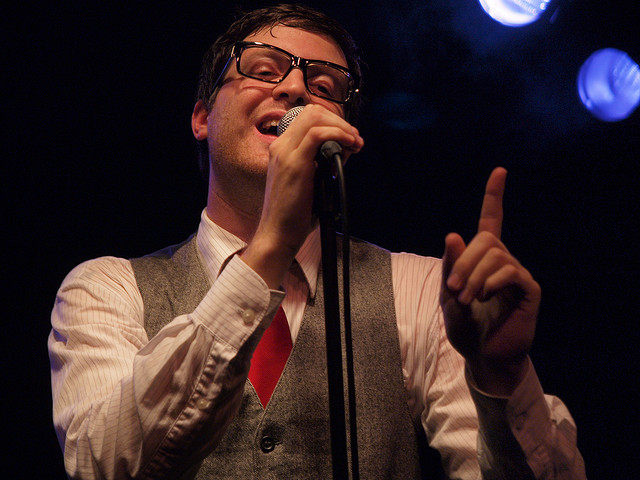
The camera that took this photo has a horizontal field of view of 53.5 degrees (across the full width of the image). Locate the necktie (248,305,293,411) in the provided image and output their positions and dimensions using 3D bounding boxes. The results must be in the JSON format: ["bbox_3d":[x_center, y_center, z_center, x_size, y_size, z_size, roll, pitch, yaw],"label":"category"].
[{"bbox_3d":[-0.154,0.327,1.947,0.170,0.045,0.441,-31,29,21],"label":"necktie"}]

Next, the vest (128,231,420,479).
[{"bbox_3d":[-0.159,0.246,2.161,0.752,0.746,0.757,-1,5,-9],"label":"vest"}]

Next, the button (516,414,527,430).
[{"bbox_3d":[0.548,0.493,1.732,0.034,0.035,0.008,41,-18,-33],"label":"button"}]

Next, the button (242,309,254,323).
[{"bbox_3d":[-0.188,0.199,1.676,0.027,0.031,0.012,-6,-8,-9],"label":"button"}]

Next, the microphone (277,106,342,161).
[{"bbox_3d":[-0.035,-0.297,1.745,0.075,0.083,0.389,-1,21,-21],"label":"microphone"}]

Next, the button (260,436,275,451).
[{"bbox_3d":[-0.146,0.571,1.791,0.039,0.032,0.021,4,18,-6],"label":"button"}]
